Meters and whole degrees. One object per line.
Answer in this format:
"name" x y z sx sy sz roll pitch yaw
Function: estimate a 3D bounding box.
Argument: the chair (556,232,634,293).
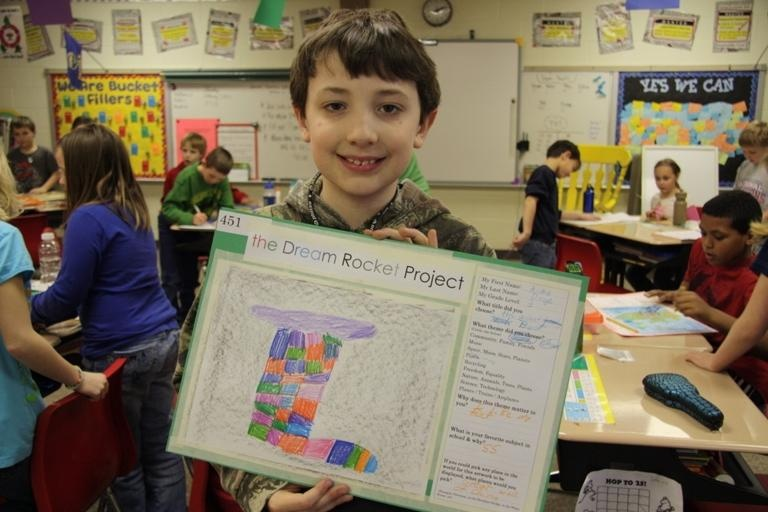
"chair" 1.299 0.019 3.403 0.391 0.523 0.318 -9 15 -28

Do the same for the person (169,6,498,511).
"person" -0.084 0.004 1.527 0.638 1.362 0.611 9 16 25

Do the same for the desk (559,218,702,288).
"desk" 1.781 -0.048 3.966 0.556 0.391 0.731 -7 16 -20

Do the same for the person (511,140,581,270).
"person" 1.273 -0.412 4.357 0.401 0.972 0.693 7 15 18

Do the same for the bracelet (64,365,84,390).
"bracelet" -1.123 0.447 2.030 0.066 0.077 0.035 3 -30 4
